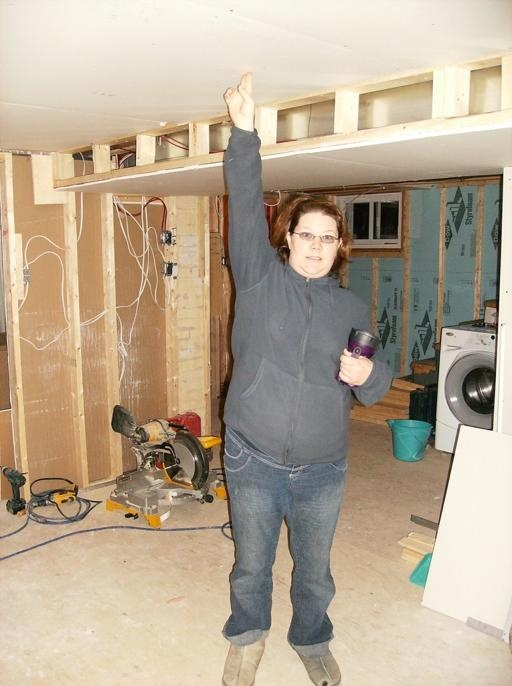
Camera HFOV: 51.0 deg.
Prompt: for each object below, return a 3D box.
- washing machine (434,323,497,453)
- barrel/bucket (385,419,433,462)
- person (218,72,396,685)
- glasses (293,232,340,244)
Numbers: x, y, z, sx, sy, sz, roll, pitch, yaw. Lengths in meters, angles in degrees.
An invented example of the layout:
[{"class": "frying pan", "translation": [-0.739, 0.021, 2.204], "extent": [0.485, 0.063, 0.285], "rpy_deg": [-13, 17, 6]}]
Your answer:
[{"class": "washing machine", "translation": [1.695, 0.413, 4.395], "extent": [0.460, 1.071, 0.211], "rpy_deg": [4, 7, 33]}, {"class": "barrel/bucket", "translation": [1.250, 0.806, 4.438], "extent": [0.352, 0.253, 0.289], "rpy_deg": [1, -4, 12]}, {"class": "person", "translation": [0.142, 0.179, 1.610], "extent": [0.476, 1.765, 0.347], "rpy_deg": [0, 6, -3]}, {"class": "glasses", "translation": [0.169, -0.297, 1.517], "extent": [0.117, 0.034, 0.043], "rpy_deg": [1, 6, 1]}]
